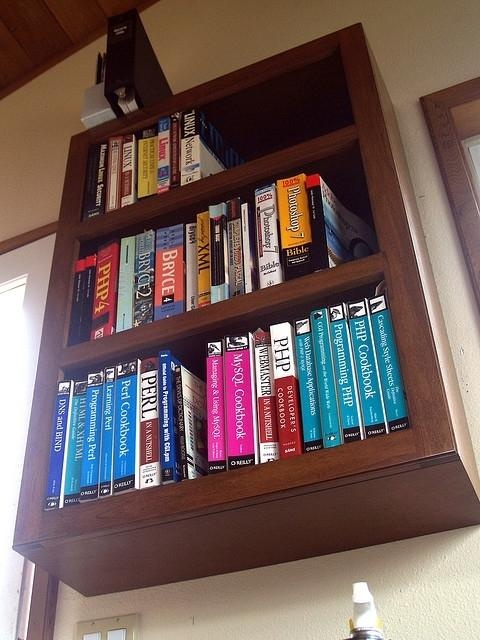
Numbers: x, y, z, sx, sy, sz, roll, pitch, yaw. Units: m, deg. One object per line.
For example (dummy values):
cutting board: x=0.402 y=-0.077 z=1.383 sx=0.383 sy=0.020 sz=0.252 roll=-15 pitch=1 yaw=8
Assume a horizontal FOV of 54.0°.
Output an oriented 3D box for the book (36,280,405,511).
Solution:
book: x=-0.048 y=0.146 z=0.784 sx=0.625 sy=0.237 sz=0.181 roll=-18 pitch=-25 yaw=20
